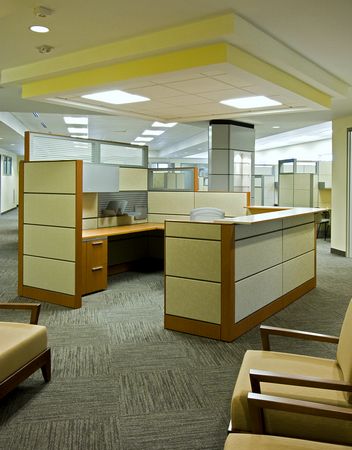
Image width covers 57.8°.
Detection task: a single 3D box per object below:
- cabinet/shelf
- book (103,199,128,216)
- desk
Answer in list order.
[{"bbox_3d":[-1.218,0.604,4.749,0.212,0.823,0.544,1,1,40],"label":"cabinet/shelf"},{"bbox_3d":[-1.145,-0.342,5.856,0.314,0.199,0.326,6,9,42],"label":"book"},{"bbox_3d":[-1.057,0.591,6.000,0.632,0.925,1.939,8,10,38],"label":"desk"}]
